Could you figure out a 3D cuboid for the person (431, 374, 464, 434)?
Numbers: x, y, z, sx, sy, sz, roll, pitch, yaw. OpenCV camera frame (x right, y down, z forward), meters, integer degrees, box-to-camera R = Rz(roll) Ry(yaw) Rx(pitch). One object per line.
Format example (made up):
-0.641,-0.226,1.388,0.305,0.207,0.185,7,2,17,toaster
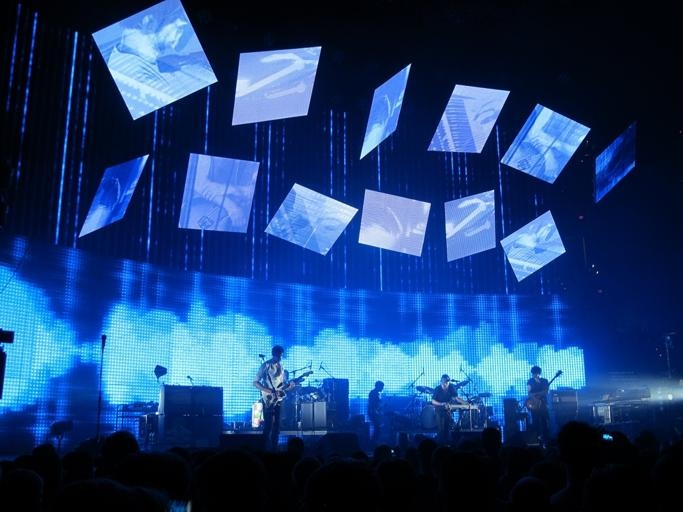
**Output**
2.188,3.099,12.946,0.634,1.709,0.634,7,-54,-1,person

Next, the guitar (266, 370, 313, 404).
-0.982,2.402,11.320,0.634,0.640,1.333,-2,-18,5,guitar

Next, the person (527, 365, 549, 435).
4.059,3.037,13.061,0.459,1.333,0.179,4,-13,-20,person

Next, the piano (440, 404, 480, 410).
2.441,3.095,12.816,0.827,0.123,0.211,1,-18,-6,piano
